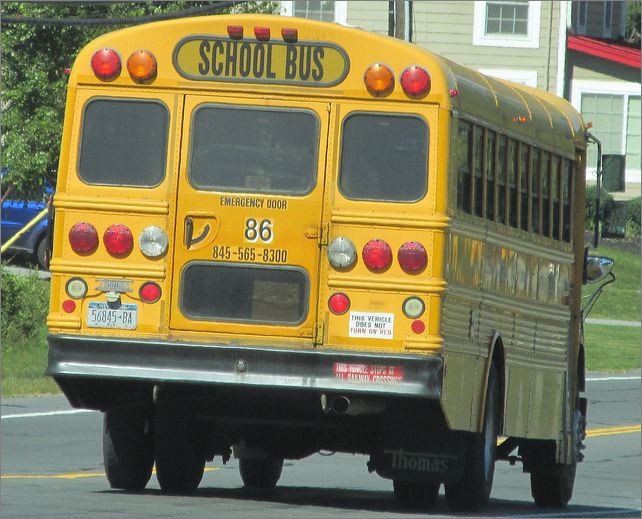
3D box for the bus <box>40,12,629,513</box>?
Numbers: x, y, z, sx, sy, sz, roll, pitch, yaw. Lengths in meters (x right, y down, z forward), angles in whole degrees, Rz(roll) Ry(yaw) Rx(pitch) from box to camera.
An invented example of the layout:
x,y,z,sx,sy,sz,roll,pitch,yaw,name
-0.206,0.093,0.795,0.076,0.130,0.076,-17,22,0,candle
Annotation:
x,y,z,sx,sy,sz,roll,pitch,yaw,name
0.357,0.017,14.000,3.413,2.878,4.750,1,-1,21,bus
